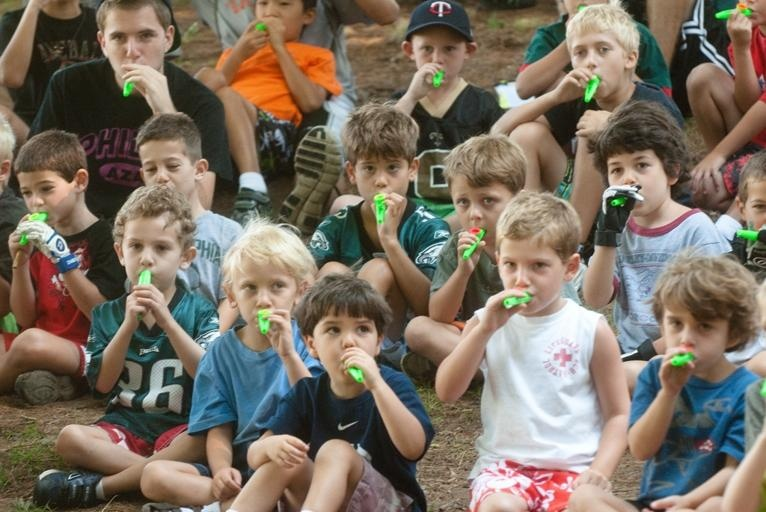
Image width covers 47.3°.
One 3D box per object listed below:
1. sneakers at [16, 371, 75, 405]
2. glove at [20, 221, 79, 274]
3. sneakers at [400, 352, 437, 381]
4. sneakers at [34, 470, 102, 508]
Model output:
[{"bbox_3d":[-2.193,0.852,5.694,0.280,0.184,0.482,5,-4,25],"label":"sneakers"},{"bbox_3d":[-2.147,-0.105,5.557,0.361,0.141,0.201,16,27,29],"label":"glove"},{"bbox_3d":[0.217,0.696,5.423,0.145,0.228,0.081,-34,20,23],"label":"sneakers"},{"bbox_3d":[-1.727,1.289,4.784,0.316,0.186,0.132,0,-6,1],"label":"sneakers"}]
